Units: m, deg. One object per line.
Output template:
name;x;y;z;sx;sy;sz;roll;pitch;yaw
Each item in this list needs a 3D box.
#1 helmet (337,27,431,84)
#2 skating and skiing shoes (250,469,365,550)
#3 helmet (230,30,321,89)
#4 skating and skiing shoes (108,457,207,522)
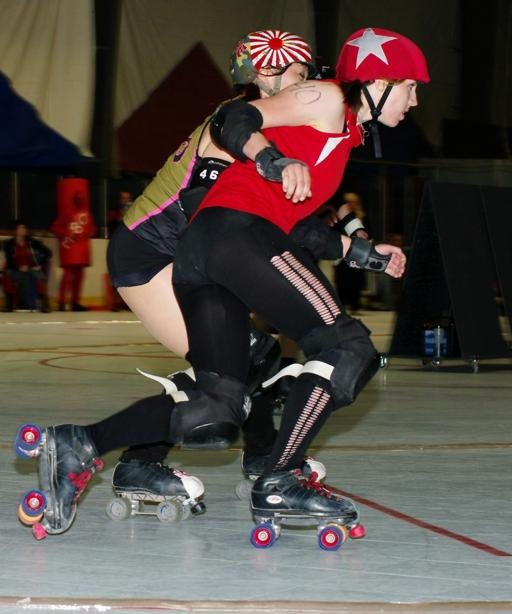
helmet;0.290;-0.645;1.651;0.291;0.119;0.170;-3;25;-8
skating and skiing shoes;0.111;0.461;1.490;0.306;0.152;0.138;1;-1;6
helmet;0.082;-0.832;2.245;0.333;0.198;0.228;3;9;26
skating and skiing shoes;-0.268;0.506;1.807;0.268;0.127;0.174;-2;-4;24
